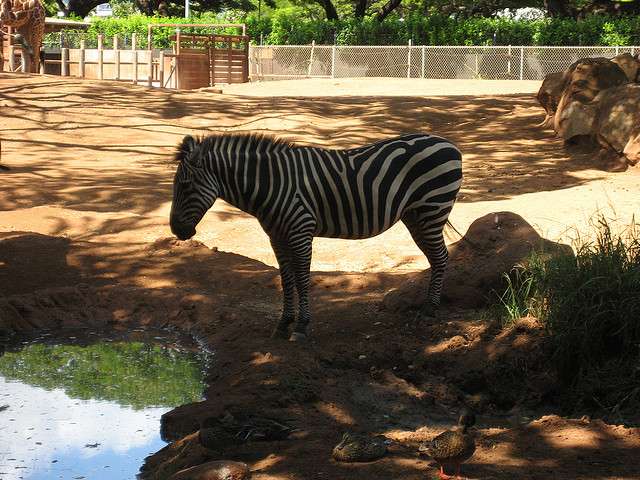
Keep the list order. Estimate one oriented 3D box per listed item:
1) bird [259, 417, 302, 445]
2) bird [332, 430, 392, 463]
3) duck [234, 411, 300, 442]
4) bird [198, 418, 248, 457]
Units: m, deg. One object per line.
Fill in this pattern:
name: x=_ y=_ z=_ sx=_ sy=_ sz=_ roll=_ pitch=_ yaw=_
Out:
bird: x=-0.333 y=1.595 z=5.638 sx=0.335 sy=0.151 sz=0.195 roll=-1 pitch=9 yaw=-1
bird: x=0.324 y=1.602 z=5.258 sx=0.411 sy=0.146 sz=0.432 roll=1 pitch=8 yaw=13
duck: x=-0.466 y=1.588 z=5.683 sx=0.708 sy=0.204 sz=0.415 roll=-2 pitch=-5 yaw=5
bird: x=-0.903 y=1.639 z=5.603 sx=0.364 sy=0.069 sz=0.321 roll=-11 pitch=23 yaw=-33
